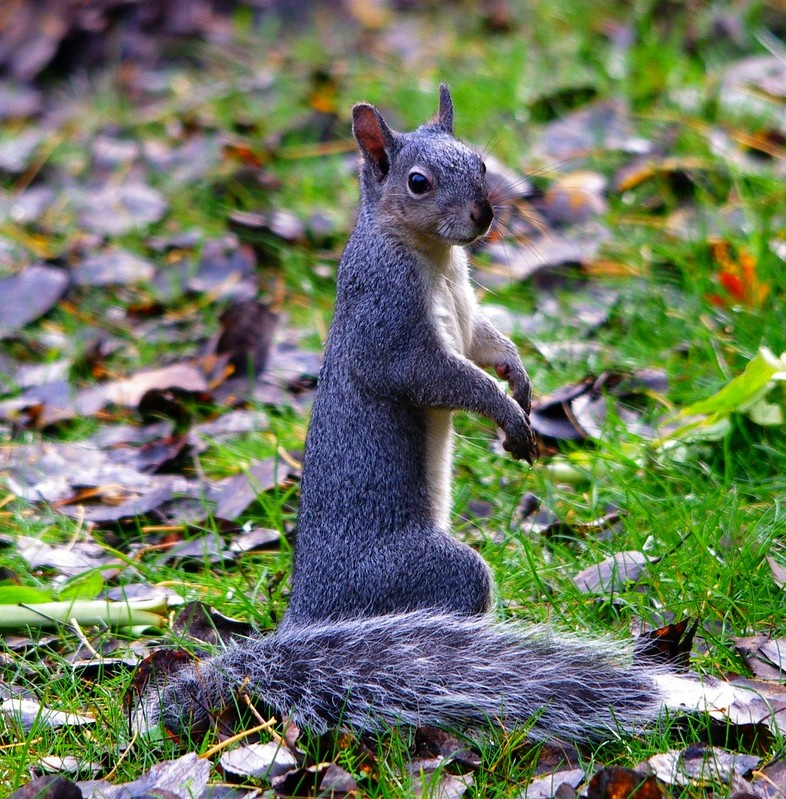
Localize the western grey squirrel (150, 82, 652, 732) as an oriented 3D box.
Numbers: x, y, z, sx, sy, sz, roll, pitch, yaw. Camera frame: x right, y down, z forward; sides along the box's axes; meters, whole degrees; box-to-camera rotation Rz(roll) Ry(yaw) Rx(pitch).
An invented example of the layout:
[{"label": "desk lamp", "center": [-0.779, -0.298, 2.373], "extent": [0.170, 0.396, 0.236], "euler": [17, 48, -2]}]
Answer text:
[{"label": "western grey squirrel", "center": [0.059, -0.019, 2.596], "extent": [1.138, 1.442, 1.154], "euler": [2, 14, 4]}]
